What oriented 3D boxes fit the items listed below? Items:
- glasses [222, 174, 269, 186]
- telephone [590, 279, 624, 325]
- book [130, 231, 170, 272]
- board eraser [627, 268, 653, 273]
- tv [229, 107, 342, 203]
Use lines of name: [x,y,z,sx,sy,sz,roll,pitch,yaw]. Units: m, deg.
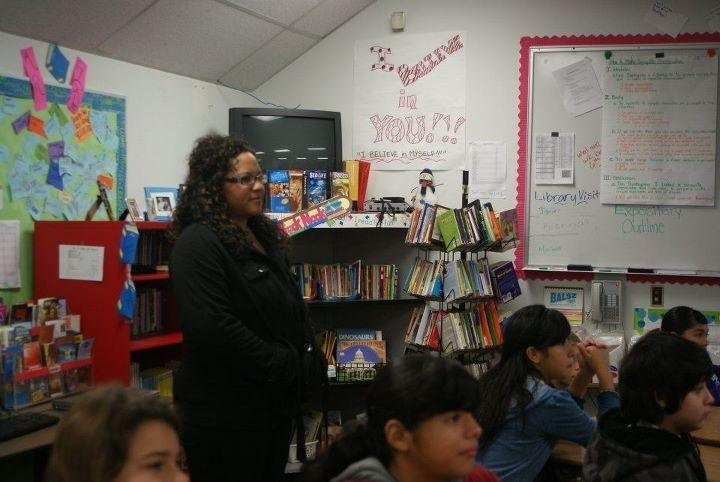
glasses: [-0.577,-0.292,2.567,0.137,0.035,0.132,-4,1,24]
telephone: [1.896,0.462,4.077,0.244,0.327,0.209,-1,4,22]
book: [-1.333,0.068,3.373,0.149,0.253,0.270,-2,-1,25]
board eraser: [2.118,0.224,4.052,0.190,0.043,0.022,-1,2,0]
tv: [-0.432,-0.681,4.425,1.021,0.824,0.557,4,15,23]
